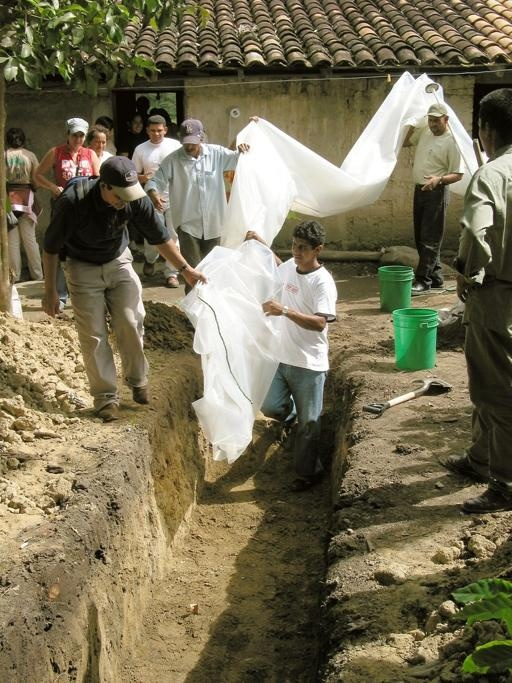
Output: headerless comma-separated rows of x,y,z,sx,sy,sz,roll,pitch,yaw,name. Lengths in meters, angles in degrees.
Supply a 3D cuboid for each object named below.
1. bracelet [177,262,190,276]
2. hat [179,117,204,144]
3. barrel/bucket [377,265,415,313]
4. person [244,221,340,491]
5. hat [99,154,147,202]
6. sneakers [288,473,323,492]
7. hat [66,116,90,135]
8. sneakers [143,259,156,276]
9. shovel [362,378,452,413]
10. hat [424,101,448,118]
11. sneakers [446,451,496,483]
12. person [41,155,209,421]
-0.432,-0.445,4.681,0.067,0.032,0.051,-31,7,-40,bracelet
-0.509,-1.677,6.133,0.184,0.141,0.247,0,39,0,hat
1.324,-0.502,7.327,0.352,0.384,0.321,-2,16,1,barrel/bucket
0.218,0.130,5.116,0.542,1.824,0.825,1,9,-1,person
-0.711,-0.880,4.169,0.257,0.241,0.218,-2,9,-21,hat
0.351,0.981,5.372,0.256,0.084,0.092,-3,-6,-44,sneakers
-1.541,-1.860,6.668,0.224,0.117,0.284,-4,25,-23,hat
-1.292,-0.902,9.329,0.138,0.187,0.083,2,-13,0,sneakers
1.026,0.311,5.130,0.675,0.082,0.236,-9,8,-44,shovel
1.653,-2.125,7.042,0.123,0.078,0.171,9,13,31,hat
1.122,0.651,4.027,0.087,0.094,0.229,-15,22,-32,sneakers
-0.848,-0.288,4.573,0.661,1.521,0.773,6,10,27,person
